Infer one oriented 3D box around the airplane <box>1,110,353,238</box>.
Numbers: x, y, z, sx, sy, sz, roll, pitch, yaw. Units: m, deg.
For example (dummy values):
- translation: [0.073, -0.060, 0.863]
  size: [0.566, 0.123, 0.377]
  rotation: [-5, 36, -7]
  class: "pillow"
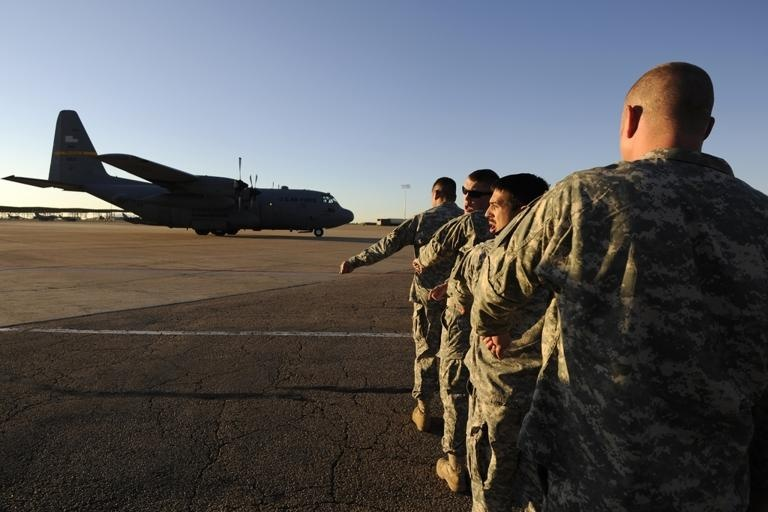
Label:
- translation: [-8.539, -2.584, 24.327]
  size: [9.932, 3.366, 9.560]
  rotation: [2, 4, -8]
  class: "airplane"
